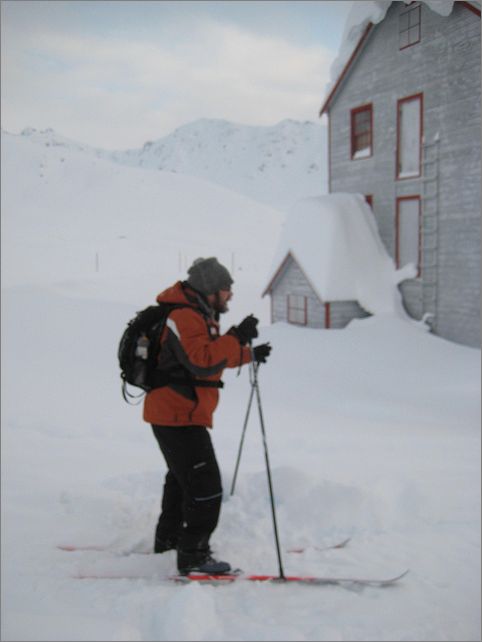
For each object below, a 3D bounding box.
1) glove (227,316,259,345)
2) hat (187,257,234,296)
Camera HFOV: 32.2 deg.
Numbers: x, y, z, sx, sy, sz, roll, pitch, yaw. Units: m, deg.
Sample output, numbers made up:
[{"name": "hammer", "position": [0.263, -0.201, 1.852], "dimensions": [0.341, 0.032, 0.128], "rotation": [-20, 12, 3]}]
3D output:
[{"name": "glove", "position": [0.025, 0.078, 6.405], "dimensions": [0.260, 0.158, 0.098], "rotation": [-48, 4, -33]}, {"name": "hat", "position": [-0.242, -0.358, 6.502], "dimensions": [0.358, 0.303, 0.244], "rotation": [-4, 12, -2]}]
